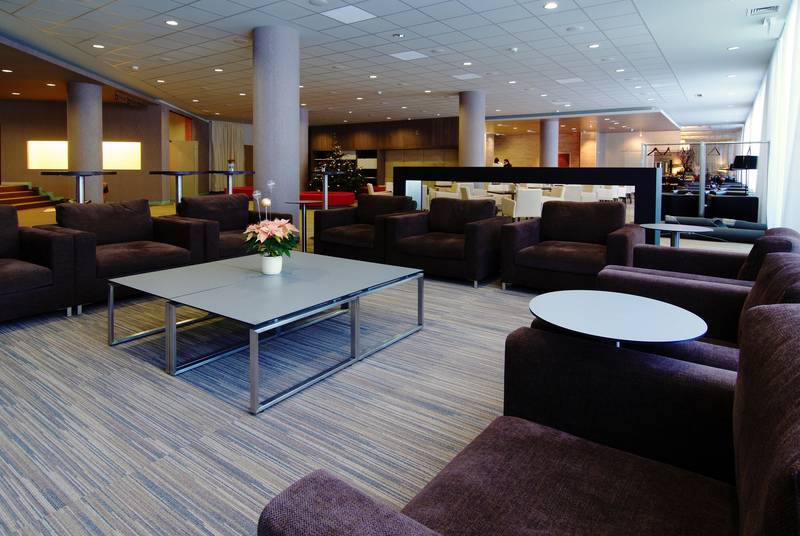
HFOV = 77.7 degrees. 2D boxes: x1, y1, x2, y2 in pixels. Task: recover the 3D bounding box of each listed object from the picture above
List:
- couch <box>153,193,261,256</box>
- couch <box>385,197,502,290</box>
[{"bbox_3d":[-2.265,-0.561,6.114,1.091,0.767,1.383,7,10,38],"label":"couch"},{"bbox_3d":[0.569,-0.324,6.488,2.023,1.057,1.291,5,9,30],"label":"couch"}]
